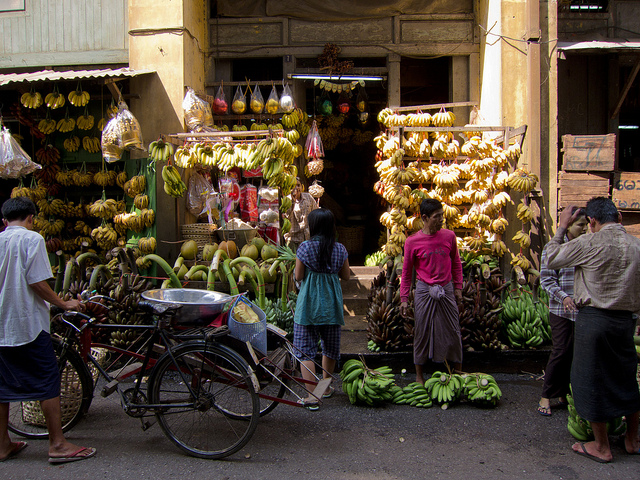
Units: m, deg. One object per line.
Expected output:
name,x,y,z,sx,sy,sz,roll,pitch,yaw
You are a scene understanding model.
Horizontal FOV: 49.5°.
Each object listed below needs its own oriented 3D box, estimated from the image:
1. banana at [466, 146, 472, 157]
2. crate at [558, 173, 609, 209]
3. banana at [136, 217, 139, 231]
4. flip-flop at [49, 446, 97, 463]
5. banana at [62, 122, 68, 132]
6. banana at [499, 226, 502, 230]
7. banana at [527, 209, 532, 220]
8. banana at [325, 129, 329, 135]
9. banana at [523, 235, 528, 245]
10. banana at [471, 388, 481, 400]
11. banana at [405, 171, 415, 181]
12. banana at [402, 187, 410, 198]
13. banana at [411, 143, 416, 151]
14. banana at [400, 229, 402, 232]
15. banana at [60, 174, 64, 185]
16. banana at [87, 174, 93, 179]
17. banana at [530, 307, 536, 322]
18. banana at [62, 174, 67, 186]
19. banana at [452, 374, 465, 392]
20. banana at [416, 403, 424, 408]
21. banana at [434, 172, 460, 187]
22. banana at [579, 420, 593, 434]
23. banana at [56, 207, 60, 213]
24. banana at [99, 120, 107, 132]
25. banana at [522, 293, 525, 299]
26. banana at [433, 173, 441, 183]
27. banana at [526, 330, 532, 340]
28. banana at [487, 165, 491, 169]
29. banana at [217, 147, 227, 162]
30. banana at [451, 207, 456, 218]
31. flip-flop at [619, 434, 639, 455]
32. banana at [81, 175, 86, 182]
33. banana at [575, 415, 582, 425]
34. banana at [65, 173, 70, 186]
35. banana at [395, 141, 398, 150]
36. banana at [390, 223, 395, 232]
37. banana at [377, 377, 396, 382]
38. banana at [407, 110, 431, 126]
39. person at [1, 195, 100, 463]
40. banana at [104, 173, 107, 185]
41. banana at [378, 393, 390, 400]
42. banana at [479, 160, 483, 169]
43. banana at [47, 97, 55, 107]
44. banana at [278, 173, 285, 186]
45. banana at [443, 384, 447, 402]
banana,2.132,-1.286,9.985,0.048,0.191,0.040,-37,22,-22
crate,3.535,-0.664,9.346,0.630,0.477,0.175,0,9,3
banana,-2.655,-0.238,10.117,0.043,0.185,0.097,-3,10,-15
flip-flop,-2.513,2.208,7.051,0.328,0.098,0.175,-5,15,-13
banana,-3.944,-1.751,10.762,0.033,0.148,0.016,19,-16,-13
banana,2.540,-0.176,9.816,0.031,0.055,0.014,-1,-2,6
banana,2.932,-0.366,9.738,0.063,0.120,0.024,9,-7,-30
banana,0.117,-1.932,12.352,0.074,0.087,0.020,-4,4,-20
banana,2.897,-0.003,9.806,0.048,0.127,0.075,7,12,36
banana,1.760,1.742,7.868,0.208,0.055,0.046,-48,19,-31
banana,1.253,-0.895,9.728,0.045,0.194,0.041,-37,8,6
banana,1.191,-0.676,9.732,0.045,0.209,0.187,-13,14,-2
banana,1.338,-1.332,9.985,0.017,0.078,0.049,4,29,42
banana,1.137,-0.131,9.778,0.038,0.038,0.006,-8,12,-36
banana,-4.060,-0.946,10.929,0.039,0.191,0.034,-1,9,-32
banana,-3.586,-0.996,10.883,0.025,0.073,0.057,8,13,40
banana,2.694,0.955,8.813,0.039,0.227,0.071,9,-20,4
banana,-4.015,-0.936,10.928,0.027,0.148,0.036,-9,19,-11
banana,1.606,1.647,8.026,0.123,0.148,0.153,-7,12,-33
banana,1.139,1.891,7.934,0.062,0.042,0.019,12,-8,-8
banana,1.792,-0.861,9.784,0.208,0.103,0.214,-4,-5,-34
banana,2.756,1.943,7.235,0.044,0.203,0.072,-29,14,13
banana,-4.160,-0.483,11.019,0.060,0.073,0.015,6,-8,-39
banana,-3.366,-1.770,10.766,0.099,0.206,0.045,20,-32,-30
banana,2.704,0.753,9.245,0.024,0.035,0.104,2,11,12
banana,1.649,-0.877,9.897,0.056,0.134,0.211,-1,11,-4
banana,2.609,1.201,8.683,0.044,0.165,0.030,1,0,-20
banana,2.398,-1.032,9.870,0.090,0.028,0.015,8,-15,-38
banana,-1.356,-1.181,9.595,0.033,0.194,0.050,21,-17,15
banana,1.894,-0.396,9.892,0.085,0.136,0.043,-7,12,-36
flip-flop,3.159,2.139,7.191,0.066,0.273,0.093,3,-15,-13
banana,-3.684,-0.961,10.823,0.077,0.092,0.020,12,-17,-23
banana,2.699,1.878,7.269,0.019,0.071,0.069,-2,30,-20
banana,-3.967,-0.948,10.917,0.030,0.159,0.041,-4,22,17
banana,1.086,-1.352,9.923,0.039,0.088,0.034,-1,9,-4
banana,1.023,-0.186,9.825,0.022,0.103,0.101,11,31,-16
banana,0.761,1.597,7.950,0.204,0.043,0.040,14,-6,3
banana,1.512,-1.809,10.364,0.207,0.158,0.211,1,2,45
person,-3.016,0.856,7.343,0.797,2.600,1.555,-4,11,-24
banana,-3.316,-0.950,10.762,0.048,0.153,0.042,-1,9,-4
banana,0.721,1.785,7.913,0.135,0.088,0.020,-5,10,-21
banana,2.285,-1.082,9.883,0.046,0.097,0.046,3,10,17
banana,-4.021,-2.080,10.410,0.105,0.120,0.052,-7,12,-35
banana,-0.531,-0.805,9.513,0.038,0.238,0.056,0,29,-29
banana,1.426,1.750,7.948,0.043,0.143,0.135,1,10,7
